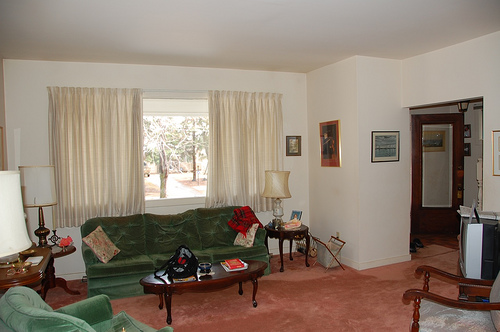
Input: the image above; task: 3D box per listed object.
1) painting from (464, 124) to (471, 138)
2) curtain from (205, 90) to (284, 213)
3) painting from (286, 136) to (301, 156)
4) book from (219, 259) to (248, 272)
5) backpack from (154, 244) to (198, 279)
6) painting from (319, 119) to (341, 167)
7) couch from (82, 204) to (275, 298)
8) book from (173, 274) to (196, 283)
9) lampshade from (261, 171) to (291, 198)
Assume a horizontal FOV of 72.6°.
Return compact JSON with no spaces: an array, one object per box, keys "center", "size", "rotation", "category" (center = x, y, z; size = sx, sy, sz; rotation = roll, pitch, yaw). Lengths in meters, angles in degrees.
[{"center":[4.991,-0.815,7.809],"size":[0.134,0.313,0.073],"rotation":[3,10,22],"category":"painting"},{"center":[-0.123,-0.293,6.791],"size":[1.607,2.419,0.527],"rotation":[-2,10,-9],"category":"curtain"},{"center":[0.891,-0.441,7.167],"size":[0.442,0.497,0.036],"rotation":[0,6,-20],"category":"painting"},{"center":[-0.232,1.482,5.118],"size":[0.397,0.062,0.353],"rotation":[-2,8,-10],"category":"book"},{"center":[-1.027,1.379,4.946],"size":[0.655,0.457,0.480],"rotation":[-6,5,25],"category":"backpack"},{"center":[1.559,-0.446,6.631],"size":[0.127,0.923,0.627],"rotation":[-5,10,-23],"category":"painting"},{"center":[-1.239,1.432,5.852],"size":[3.018,1.143,1.118],"rotation":[-1,5,-28],"category":"couch"},{"center":[-0.905,1.555,4.677],"size":[0.308,0.027,0.129],"rotation":[-4,9,-20],"category":"book"},{"center":[0.439,0.358,6.418],"size":[0.483,0.590,0.474],"rotation":[1,-5,-1],"category":"lampshade"}]
